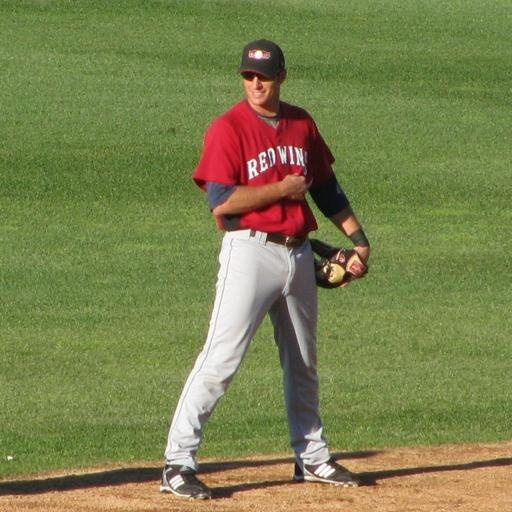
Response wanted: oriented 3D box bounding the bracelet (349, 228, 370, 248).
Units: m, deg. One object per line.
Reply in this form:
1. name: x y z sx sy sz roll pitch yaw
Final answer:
1. bracelet: 0.871 -0.089 12.176 0.117 0.166 0.150 -26 48 9

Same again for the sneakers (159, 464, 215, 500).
1. sneakers: -0.564 1.827 11.691 0.381 0.192 0.204 3 2 40
